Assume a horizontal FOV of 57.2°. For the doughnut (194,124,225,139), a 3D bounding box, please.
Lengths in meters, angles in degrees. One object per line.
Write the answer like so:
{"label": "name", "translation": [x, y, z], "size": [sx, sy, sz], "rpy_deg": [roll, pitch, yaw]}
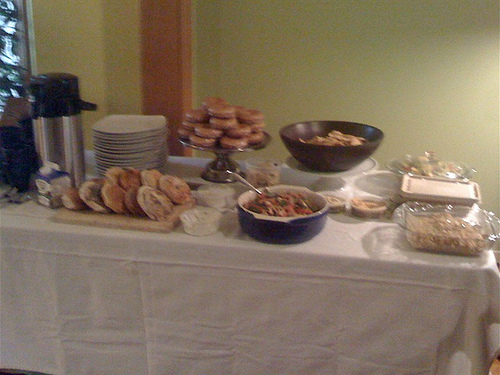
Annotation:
{"label": "doughnut", "translation": [-0.147, -0.217, 1.693], "size": [0.073, 0.017, 0.067], "rpy_deg": [16, 25, 23]}

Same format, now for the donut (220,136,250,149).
{"label": "donut", "translation": [-0.060, -0.167, 1.685], "size": [0.067, 0.016, 0.063], "rpy_deg": [-14, 26, -37]}

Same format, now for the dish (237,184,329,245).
{"label": "dish", "translation": [0.102, 0.082, 1.491], "size": [0.286, 0.088, 0.279], "rpy_deg": [-14, 27, -31]}

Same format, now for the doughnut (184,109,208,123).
{"label": "doughnut", "translation": [-0.204, -0.277, 1.774], "size": [0.100, 0.023, 0.082], "rpy_deg": [3, 23, -3]}

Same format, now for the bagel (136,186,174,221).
{"label": "bagel", "translation": [-0.310, 0.051, 1.540], "size": [0.108, 0.102, 0.129], "rpy_deg": [17, 21, 40]}

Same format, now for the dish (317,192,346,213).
{"label": "dish", "translation": [0.291, 0.052, 1.608], "size": [0.085, 0.019, 0.071], "rpy_deg": [-2, 20, -18]}

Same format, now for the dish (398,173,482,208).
{"label": "dish", "translation": [0.638, 0.004, 1.539], "size": [0.212, 0.048, 0.126], "rpy_deg": [6, 24, 11]}

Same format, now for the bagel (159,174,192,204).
{"label": "bagel", "translation": [-0.252, -0.001, 1.617], "size": [0.093, 0.094, 0.120], "rpy_deg": [18, 27, 36]}

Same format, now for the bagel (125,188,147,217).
{"label": "bagel", "translation": [-0.381, 0.047, 1.500], "size": [0.024, 0.086, 0.081], "rpy_deg": [-28, 3, 42]}

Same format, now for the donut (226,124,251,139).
{"label": "donut", "translation": [-0.045, -0.216, 1.704], "size": [0.065, 0.017, 0.063], "rpy_deg": [-21, 30, -34]}

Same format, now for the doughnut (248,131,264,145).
{"label": "doughnut", "translation": [0.034, -0.191, 1.747], "size": [0.049, 0.044, 0.094], "rpy_deg": [12, 16, 18]}

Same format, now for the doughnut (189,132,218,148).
{"label": "doughnut", "translation": [-0.169, -0.175, 1.699], "size": [0.106, 0.044, 0.064], "rpy_deg": [4, 15, -5]}

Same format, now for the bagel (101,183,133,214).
{"label": "bagel", "translation": [-0.448, 0.027, 1.526], "size": [0.020, 0.123, 0.102], "rpy_deg": [-27, 5, 31]}

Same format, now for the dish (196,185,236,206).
{"label": "dish", "translation": [-0.124, 0.021, 1.606], "size": [0.102, 0.028, 0.083], "rpy_deg": [-5, 19, -26]}

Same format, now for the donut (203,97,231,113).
{"label": "donut", "translation": [-0.147, -0.347, 1.846], "size": [0.121, 0.028, 0.101], "rpy_deg": [-9, 27, -16]}

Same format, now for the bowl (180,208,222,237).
{"label": "bowl", "translation": [-0.170, 0.100, 1.512], "size": [0.129, 0.064, 0.185], "rpy_deg": [1, 14, -17]}

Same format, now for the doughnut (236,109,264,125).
{"label": "doughnut", "translation": [0.008, -0.284, 1.793], "size": [0.088, 0.022, 0.073], "rpy_deg": [4, 20, 7]}

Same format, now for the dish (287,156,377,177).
{"label": "dish", "translation": [0.299, -0.080, 1.631], "size": [0.269, 0.032, 0.213], "rpy_deg": [2, 14, 14]}

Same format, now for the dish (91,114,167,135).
{"label": "dish", "translation": [-0.484, -0.258, 1.873], "size": [0.192, 0.029, 0.191], "rpy_deg": [-4, 21, -7]}

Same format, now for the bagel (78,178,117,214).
{"label": "bagel", "translation": [-0.517, 0.027, 1.518], "size": [0.139, 0.022, 0.108], "rpy_deg": [27, 45, -16]}

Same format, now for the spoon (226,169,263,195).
{"label": "spoon", "translation": [-0.017, -0.019, 1.657], "size": [0.172, 0.020, 0.025], "rpy_deg": [33, -29, -31]}

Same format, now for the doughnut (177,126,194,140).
{"label": "doughnut", "translation": [-0.243, -0.216, 1.773], "size": [0.065, 0.018, 0.062], "rpy_deg": [27, 30, 24]}

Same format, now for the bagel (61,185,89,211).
{"label": "bagel", "translation": [-0.576, 0.047, 1.536], "size": [0.069, 0.015, 0.086], "rpy_deg": [24, 8, -16]}
